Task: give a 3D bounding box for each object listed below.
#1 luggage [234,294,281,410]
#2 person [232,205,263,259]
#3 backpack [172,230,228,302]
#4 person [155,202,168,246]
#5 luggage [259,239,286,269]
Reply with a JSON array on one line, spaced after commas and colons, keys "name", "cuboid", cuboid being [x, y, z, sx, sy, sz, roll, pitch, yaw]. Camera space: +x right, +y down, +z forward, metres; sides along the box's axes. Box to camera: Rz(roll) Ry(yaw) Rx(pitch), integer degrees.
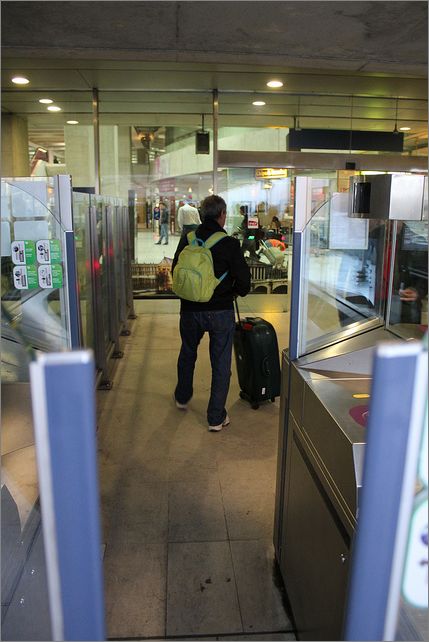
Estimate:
[{"name": "luggage", "cuboid": [0.443, 0.340, 4.660, 0.377, 1.335, 0.511, -17, 39, -9]}, {"name": "person", "cuboid": [0.618, -1.585, 7.857, 0.476, 0.924, 0.277, 0, 27, 3]}, {"name": "backpack", "cuboid": [-0.108, -0.414, 3.489, 0.444, 0.549, 0.326, -2, 14, -6]}, {"name": "person", "cuboid": [-0.987, -1.815, 8.330, 0.225, 0.762, 0.214, -4, 14, -14]}, {"name": "luggage", "cuboid": [1.038, -1.216, 7.933, 0.350, 0.453, 0.482, -11, 41, -33]}]
